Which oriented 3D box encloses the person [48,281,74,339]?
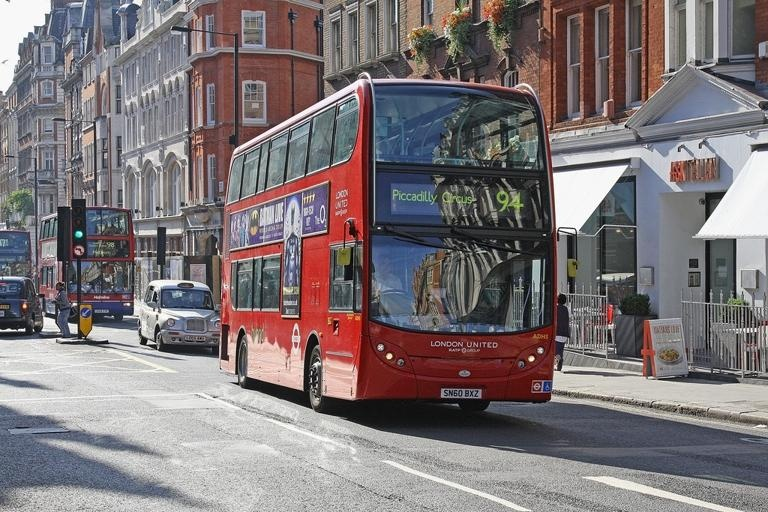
[{"bbox_3d":[-13.835,2.267,41.292,0.680,0.806,1.952,10,30,-24],"label":"person"}]

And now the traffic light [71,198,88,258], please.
[{"bbox_3d":[-10.755,-0.944,33.850,0.453,2.049,0.746,-1,3,-23],"label":"traffic light"}]
